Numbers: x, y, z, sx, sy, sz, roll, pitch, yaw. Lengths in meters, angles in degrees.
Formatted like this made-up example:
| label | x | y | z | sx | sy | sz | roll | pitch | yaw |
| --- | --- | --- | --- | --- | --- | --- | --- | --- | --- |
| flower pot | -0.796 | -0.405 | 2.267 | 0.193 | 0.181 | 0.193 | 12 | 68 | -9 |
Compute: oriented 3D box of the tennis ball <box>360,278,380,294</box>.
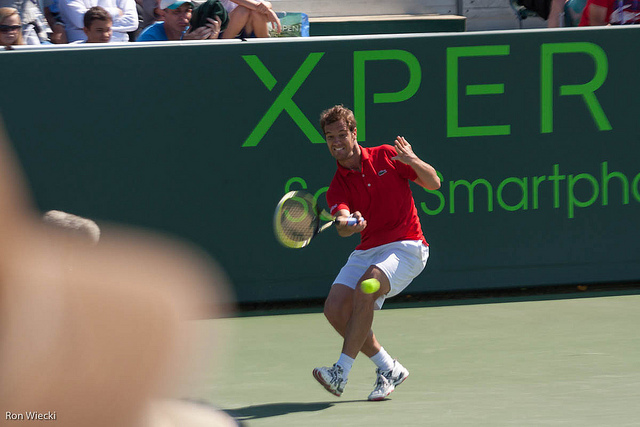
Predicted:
| label | x | y | z | sx | sy | sz | roll | pitch | yaw |
| --- | --- | --- | --- | --- | --- | --- | --- | --- | --- |
| tennis ball | 0.399 | 0.557 | 7.635 | 0.178 | 0.084 | 0.080 | 8 | 7 | -34 |

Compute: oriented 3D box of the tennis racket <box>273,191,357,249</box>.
| label | x | y | z | sx | sy | sz | roll | pitch | yaw |
| --- | --- | --- | --- | --- | --- | --- | --- | --- | --- |
| tennis racket | -0.018 | 0.057 | 7.982 | 0.842 | 0.181 | 0.496 | -8 | 46 | 54 |

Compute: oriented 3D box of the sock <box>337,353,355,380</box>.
| label | x | y | z | sx | sy | sz | roll | pitch | yaw |
| --- | --- | --- | --- | --- | --- | --- | --- | --- | --- |
| sock | 0.190 | 1.162 | 7.643 | 0.113 | 0.143 | 0.094 | 12 | 6 | 3 |

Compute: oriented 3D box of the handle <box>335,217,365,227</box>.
| label | x | y | z | sx | sy | sz | roll | pitch | yaw |
| --- | --- | --- | --- | --- | --- | --- | --- | --- | --- |
| handle | 0.204 | 0.068 | 7.626 | 0.175 | 0.054 | 0.078 | 12 | 6 | 0 |
